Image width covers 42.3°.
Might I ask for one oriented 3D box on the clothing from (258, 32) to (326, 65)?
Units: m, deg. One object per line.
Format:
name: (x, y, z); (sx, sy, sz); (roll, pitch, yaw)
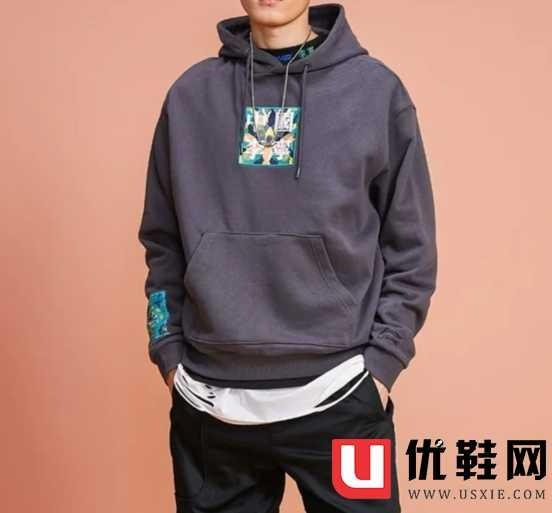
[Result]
clothing: (0.064, -0.612, 2.114); (0.106, 0.056, 0.123); (-14, -17, -9)
